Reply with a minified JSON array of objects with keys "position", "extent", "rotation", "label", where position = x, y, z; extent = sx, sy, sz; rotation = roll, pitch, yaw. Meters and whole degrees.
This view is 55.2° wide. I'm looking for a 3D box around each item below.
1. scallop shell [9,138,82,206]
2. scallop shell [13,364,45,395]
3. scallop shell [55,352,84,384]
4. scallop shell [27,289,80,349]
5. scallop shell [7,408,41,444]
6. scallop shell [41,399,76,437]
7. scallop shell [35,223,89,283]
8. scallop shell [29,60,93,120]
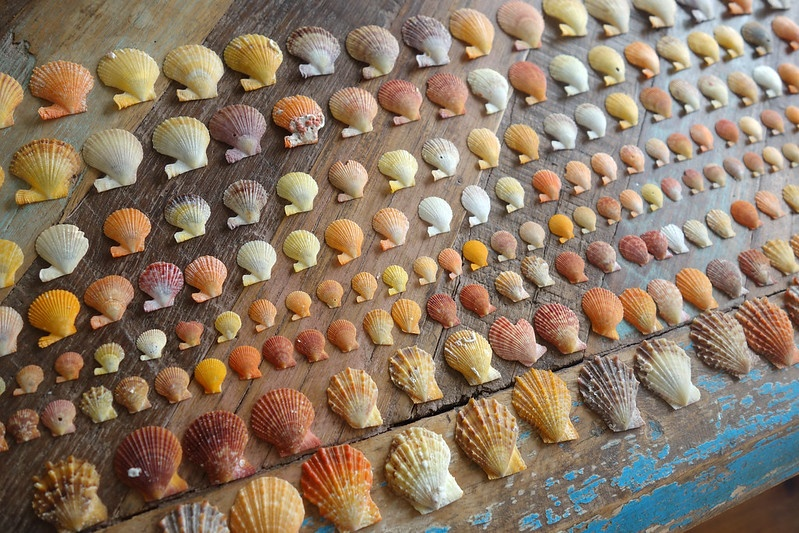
[{"position":[-1.729,-0.453,3.708],"extent":[0.237,0.026,0.260],"rotation":[-14,85,-13],"label":"scallop shell"},{"position":[-1.740,0.530,3.604],"extent":[0.131,0.038,0.132],"rotation":[-1,72,-16],"label":"scallop shell"},{"position":[-1.563,0.473,3.634],"extent":[0.128,0.032,0.129],"rotation":[-7,73,-17],"label":"scallop shell"},{"position":[-1.653,0.257,3.647],"extent":[0.170,0.034,0.213],"rotation":[-28,81,-6],"label":"scallop shell"},{"position":[-1.748,0.738,3.567],"extent":[0.146,0.040,0.143],"rotation":[-6,73,-17],"label":"scallop shell"},{"position":[-1.590,0.706,3.586],"extent":[0.153,0.034,0.160],"rotation":[-2,72,-16],"label":"scallop shell"},{"position":[-1.632,-0.077,3.697],"extent":[0.238,0.064,0.313],"rotation":[20,59,-15],"label":"scallop shell"},{"position":[-1.653,-0.869,3.766],"extent":[0.301,0.100,0.253],"rotation":[-9,73,-18],"label":"scallop shell"}]
